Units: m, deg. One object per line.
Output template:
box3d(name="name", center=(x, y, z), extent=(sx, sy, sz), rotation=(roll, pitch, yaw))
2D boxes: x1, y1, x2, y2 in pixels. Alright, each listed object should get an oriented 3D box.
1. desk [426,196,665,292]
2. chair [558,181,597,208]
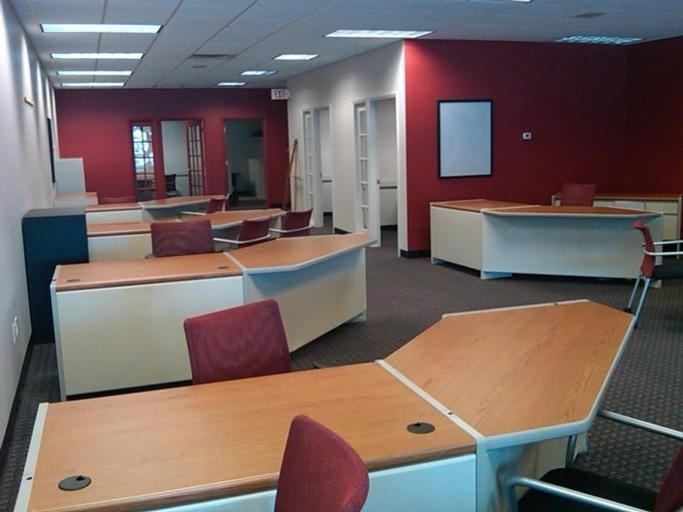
box3d(name="desk", center=(2.483, -0.170, 6.411), extent=(2.732, 0.987, 0.803), rotation=(7, 17, 33))
box3d(name="chair", center=(3.354, -0.896, 7.069), extent=(0.368, 0.616, 0.396), rotation=(5, 11, 32))
